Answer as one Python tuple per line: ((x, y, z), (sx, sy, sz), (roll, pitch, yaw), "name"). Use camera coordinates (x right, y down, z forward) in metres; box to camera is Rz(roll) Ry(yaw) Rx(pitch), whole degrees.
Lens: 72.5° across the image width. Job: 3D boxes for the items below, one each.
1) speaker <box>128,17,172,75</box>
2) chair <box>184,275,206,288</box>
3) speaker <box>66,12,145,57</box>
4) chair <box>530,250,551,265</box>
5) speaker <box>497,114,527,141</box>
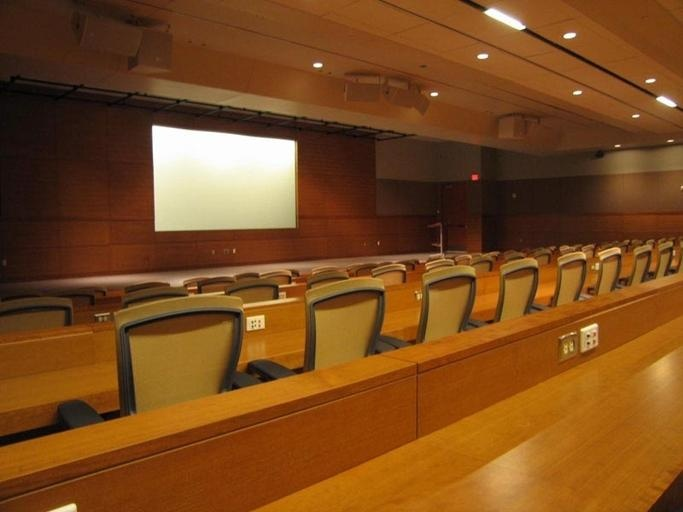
((-2.786, -2.975, 6.748), (0.599, 0.492, 0.606), (17, 19, 25), "speaker")
((-1.923, 0.326, 6.047), (0.277, 0.129, 0.261), (-2, 0, -28), "chair")
((-3.065, -2.876, 6.095), (0.731, 0.518, 0.349), (3, -9, -32), "speaker")
((2.547, 0.021, 5.928), (0.149, 0.178, 0.161), (-4, 19, -8), "chair")
((4.370, -3.290, 12.015), (0.761, 0.748, 0.549), (6, 15, 27), "speaker")
